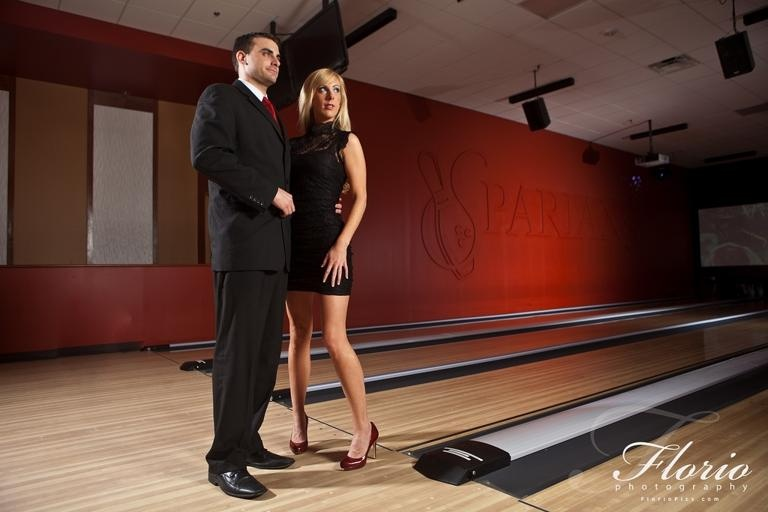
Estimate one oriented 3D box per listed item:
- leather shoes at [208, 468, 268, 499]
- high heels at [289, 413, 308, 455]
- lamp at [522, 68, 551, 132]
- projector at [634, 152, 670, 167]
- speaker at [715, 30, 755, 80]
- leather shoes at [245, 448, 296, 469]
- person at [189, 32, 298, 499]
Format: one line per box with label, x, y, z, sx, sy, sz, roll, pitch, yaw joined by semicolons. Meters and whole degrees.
leather shoes;-0.671;1.011;2.137;0.252;0.104;0.108;3;-2;28
high heels;-0.427;0.933;2.460;0.075;0.085;0.215;5;41;5
lamp;2.054;-2.069;6.279;0.329;0.678;0.923;1;3;18
projector;5.045;-1.831;8.771;0.514;0.189;0.488;0;1;5
speaker;3.640;-2.121;4.800;0.365;0.476;0.270;-3;4;-44
leather shoes;-0.564;1.014;2.295;0.196;0.072;0.095;0;-1;3
person;-0.645;-0.010;2.194;0.474;2.174;0.381;-1;3;-22
